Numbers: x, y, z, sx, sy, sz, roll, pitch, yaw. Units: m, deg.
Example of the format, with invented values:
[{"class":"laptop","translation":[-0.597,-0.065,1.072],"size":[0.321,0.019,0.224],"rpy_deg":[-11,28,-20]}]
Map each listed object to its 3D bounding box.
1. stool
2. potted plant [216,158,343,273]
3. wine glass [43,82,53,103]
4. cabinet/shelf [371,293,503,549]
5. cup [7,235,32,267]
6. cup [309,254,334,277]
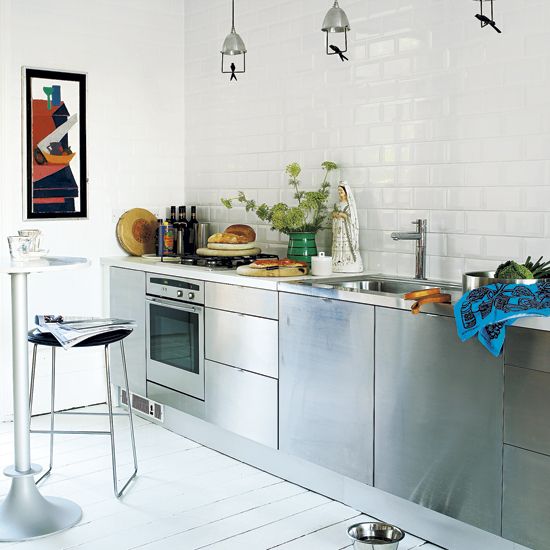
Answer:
[{"class":"stool","translation":[-0.983,0.668,2.643],"size":[0.538,0.766,0.482],"rpy_deg":[-2,-2,0]},{"class":"potted plant","translation":[0.129,-0.315,3.332],"size":[0.776,0.608,0.706],"rpy_deg":[-1,-1,42]},{"class":"wine glass","translation":[-1.567,-1.263,3.564],"size":[0.094,0.146,0.032],"rpy_deg":[-2,6,-14]},{"class":"cabinet/shelf","translation":[0.490,0.501,2.049],"size":[0.582,0.699,0.416],"rpy_deg":[10,-17,-10]},{"class":"cup","translation":[-0.950,-0.089,1.951],"size":[0.111,0.110,0.112],"rpy_deg":[1,7,0]},{"class":"cup","translation":[0.249,-0.051,2.815],"size":[0.123,0.090,0.117],"rpy_deg":[1,2,0]}]
